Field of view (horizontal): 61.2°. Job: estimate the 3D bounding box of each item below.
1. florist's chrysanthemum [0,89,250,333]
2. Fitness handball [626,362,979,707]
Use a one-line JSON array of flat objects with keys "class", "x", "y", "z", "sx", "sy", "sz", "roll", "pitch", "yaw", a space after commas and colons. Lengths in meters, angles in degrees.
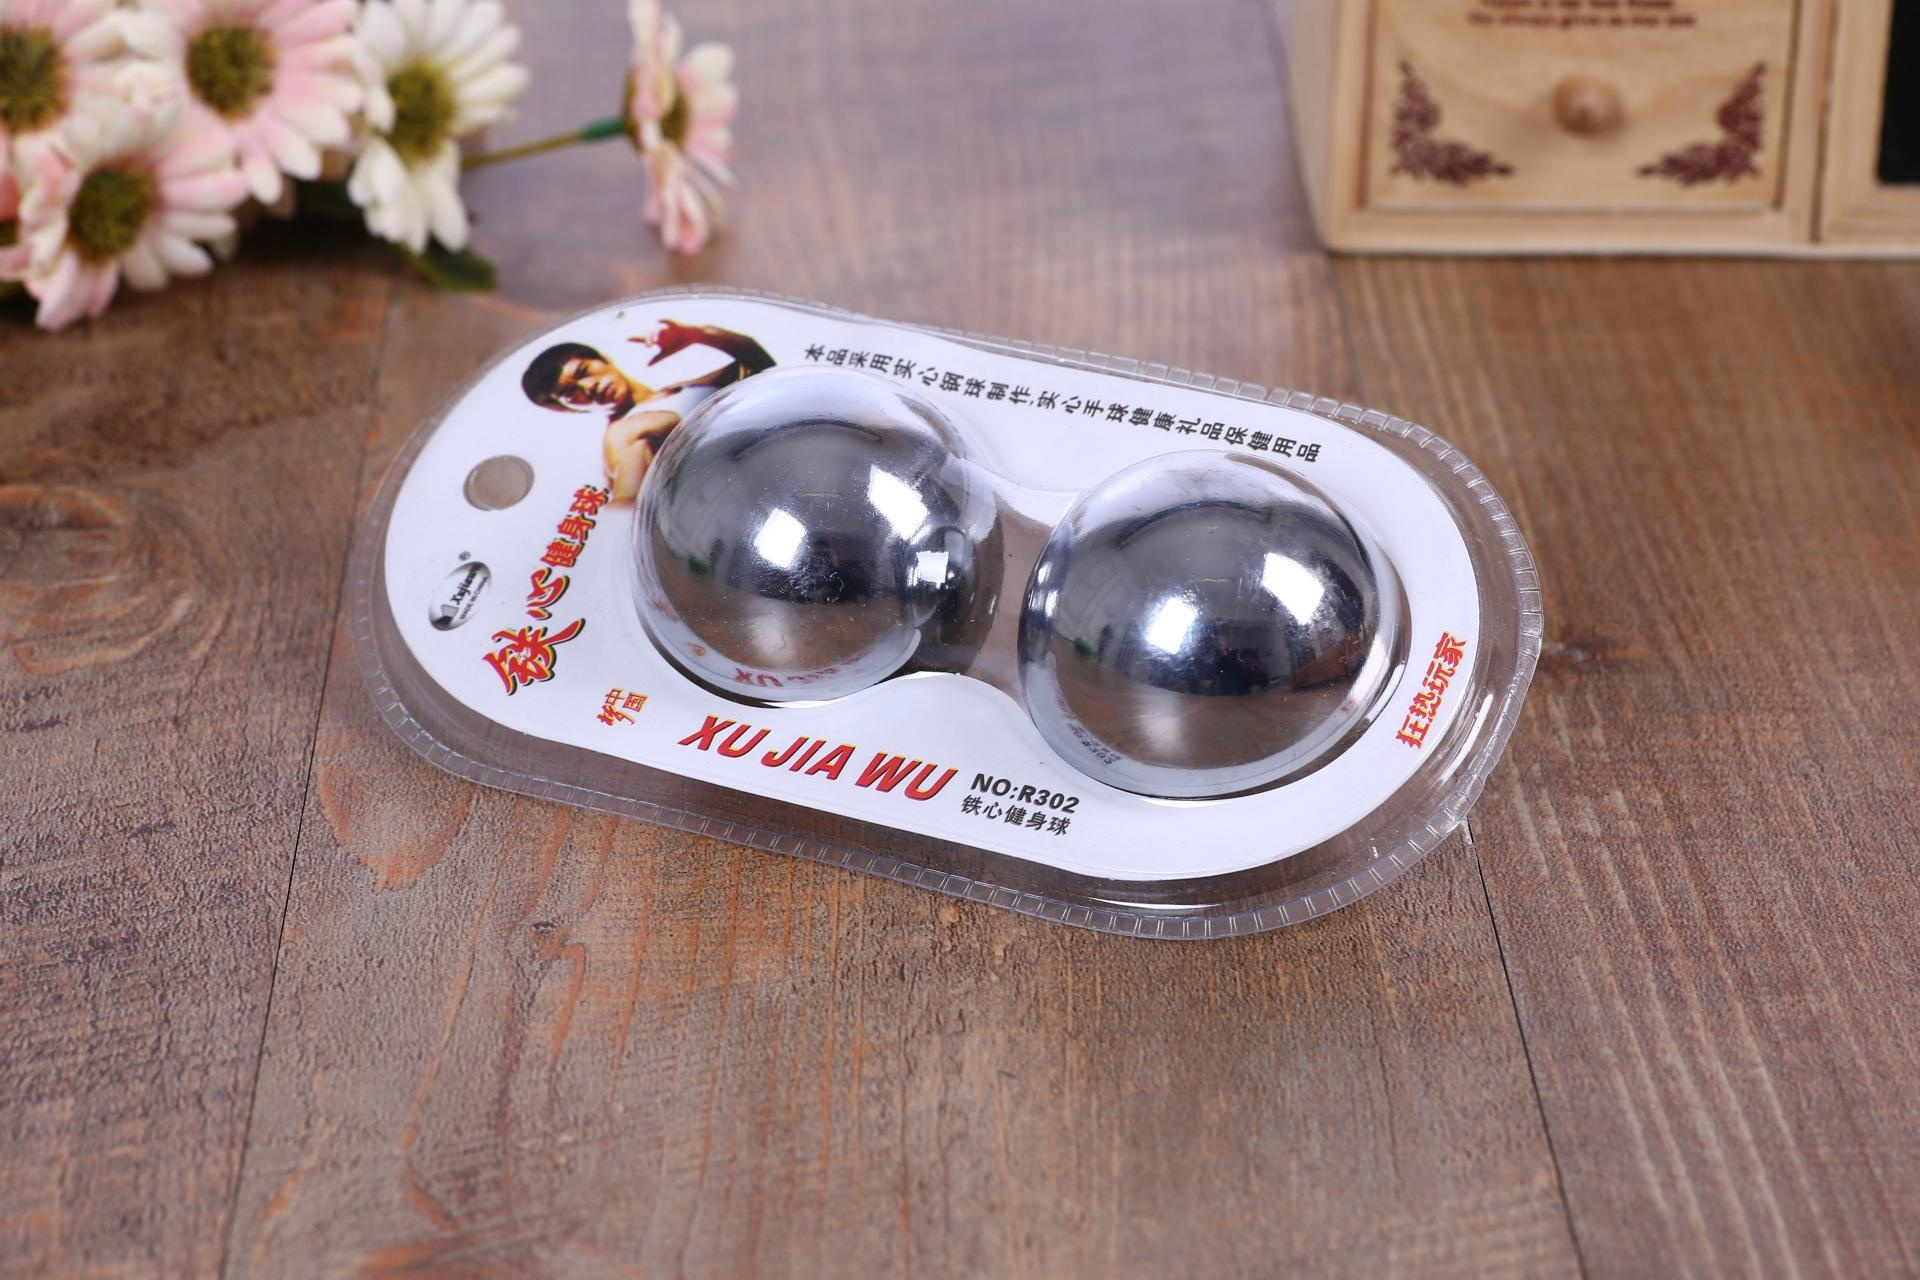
[{"class": "florist's chrysanthemum", "x": -0.636, "y": -0.333, "z": 1.242, "sx": 0.158, "sy": 0.163, "sz": 0.067, "roll": -28, "pitch": 39, "yaw": -13}, {"class": "Fitness handball", "x": -0.099, "y": -0.079, "z": 1.089, "sx": 0.246, "sy": 0.099, "sz": 0.214, "roll": -9, "pitch": 66, "yaw": 2}]
